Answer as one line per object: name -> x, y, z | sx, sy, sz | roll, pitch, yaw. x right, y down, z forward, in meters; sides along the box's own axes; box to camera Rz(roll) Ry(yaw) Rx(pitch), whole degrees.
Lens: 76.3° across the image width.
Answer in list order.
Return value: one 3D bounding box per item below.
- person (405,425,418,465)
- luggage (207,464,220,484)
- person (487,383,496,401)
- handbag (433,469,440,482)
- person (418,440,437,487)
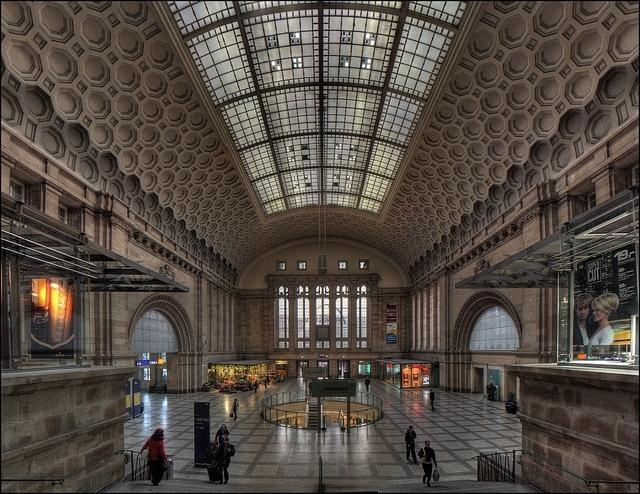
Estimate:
person -> 4.023, 8.721, 18.183 | 0.464, 1.583, 1.099 | -4, -12, 10
luggage -> -4.069, 8.513, 15.421 | 0.612, 0.608, 0.336 | -12, -16, 39
person -> 14.020, 11.834, 33.424 | 0.636, 1.387, 0.916 | -8, -14, 27
handbag -> 4.350, 8.614, 15.310 | 0.305, 0.488, 0.167 | 0, 5, 4
person -> 4.223, 8.345, 16.056 | 0.608, 1.501, 2.976 | -5, -13, 12
